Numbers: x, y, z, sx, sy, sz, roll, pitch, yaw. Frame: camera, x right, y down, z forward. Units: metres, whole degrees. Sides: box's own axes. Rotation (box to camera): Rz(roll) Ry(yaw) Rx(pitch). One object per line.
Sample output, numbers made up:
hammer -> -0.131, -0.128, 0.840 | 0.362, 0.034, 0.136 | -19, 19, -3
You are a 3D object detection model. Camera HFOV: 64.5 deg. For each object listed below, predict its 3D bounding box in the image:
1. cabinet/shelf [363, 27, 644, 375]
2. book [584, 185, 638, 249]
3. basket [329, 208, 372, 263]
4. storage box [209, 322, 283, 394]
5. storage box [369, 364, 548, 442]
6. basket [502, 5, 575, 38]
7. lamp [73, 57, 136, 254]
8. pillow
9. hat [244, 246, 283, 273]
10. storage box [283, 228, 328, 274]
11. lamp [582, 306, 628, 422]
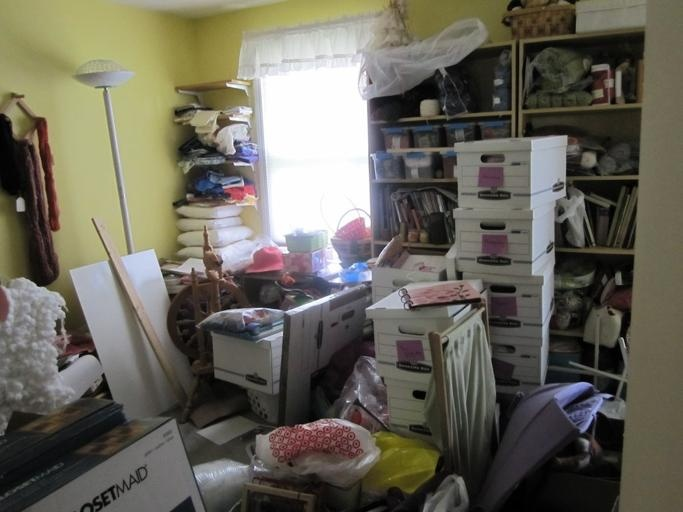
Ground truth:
cabinet/shelf -> 1.059, -0.406, 3.498 | 1.520, 1.825, 0.585 | 1, 13, 28
book -> 1.544, -0.208, 3.102 | 0.388, 0.399, 0.132 | -5, 7, -33
basket -> 0.106, -0.164, 4.189 | 0.324, 0.449, 0.426 | 5, 12, 32
storage box -> -0.448, 0.557, 3.273 | 0.502, 0.300, 0.504 | 5, 11, 30
storage box -> 0.408, 0.628, 2.322 | 0.465, 0.291, 0.414 | 0, 7, 35
basket -> 1.162, -1.367, 3.162 | 0.270, 0.101, 0.211 | 2, 15, 17
lamp -> -1.642, -0.691, 3.957 | 0.368, 1.427, 0.681 | -10, 12, -23
pillow -> -1.051, -0.222, 4.599 | 0.528, 0.514, 0.759 | 0, 5, 25
hat -> -0.587, 0.039, 4.229 | 0.226, 0.074, 0.223 | -18, 35, -23
storage box -> -0.247, -0.047, 4.070 | 0.265, 0.326, 0.485 | 2, 8, 14
lamp -> 1.477, 0.582, 3.251 | 0.224, 0.580, 0.238 | 26, 14, 28
